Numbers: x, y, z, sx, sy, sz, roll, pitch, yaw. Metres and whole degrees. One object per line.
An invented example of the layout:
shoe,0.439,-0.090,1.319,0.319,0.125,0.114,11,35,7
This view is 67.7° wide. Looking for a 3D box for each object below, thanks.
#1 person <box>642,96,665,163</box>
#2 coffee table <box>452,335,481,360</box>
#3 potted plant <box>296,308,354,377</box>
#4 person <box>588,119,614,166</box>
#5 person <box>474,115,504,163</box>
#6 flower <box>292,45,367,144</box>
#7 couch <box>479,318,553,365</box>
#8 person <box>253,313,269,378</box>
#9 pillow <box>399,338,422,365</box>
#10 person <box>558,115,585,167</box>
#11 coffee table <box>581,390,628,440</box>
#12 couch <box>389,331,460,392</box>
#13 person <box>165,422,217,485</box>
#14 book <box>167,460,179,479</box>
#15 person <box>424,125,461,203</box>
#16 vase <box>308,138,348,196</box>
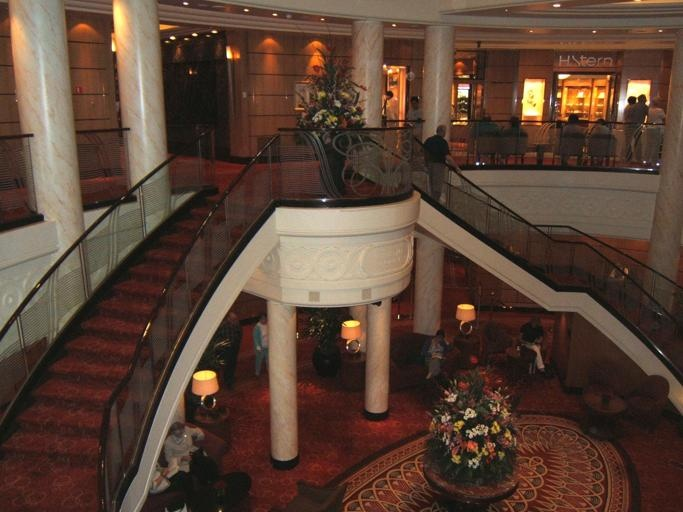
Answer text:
person,8.327,-3.211,13.618,0.480,1.474,1.071,10,23,28
coffee table,3.455,2.523,14.050,0.726,0.593,0.731,0,15,2
potted plant,-0.410,2.176,14.359,1.688,2.551,1.646,1,5,0
person,7.184,-3.165,14.107,0.835,1.198,0.933,6,31,18
person,4.174,-3.277,14.490,0.832,1.553,0.833,-6,32,-5
flower,-0.194,-2.756,8.424,1.104,1.218,0.509,-2,20,-3
couch,4.831,2.410,14.427,1.552,1.415,1.505,3,-1,21
person,-2.122,2.269,13.299,0.379,1.804,0.755,-4,20,-10
pillow,1.758,2.445,13.212,0.685,0.628,0.176,-14,7,-37
person,6.502,-3.298,14.386,0.666,1.406,0.346,4,20,11
coffee table,5.692,3.485,11.340,0.947,1.021,0.964,4,27,17
couch,1.902,2.675,12.973,2.117,1.414,1.200,-4,16,-16
person,-2.681,3.456,9.049,0.739,1.069,0.630,11,28,18
book,-2.904,3.675,8.754,0.178,0.083,0.233,5,22,12
person,2.033,-1.909,10.990,0.664,1.294,0.863,12,23,31
vase,-0.242,-1.498,8.272,0.574,0.967,0.261,-4,20,-10
